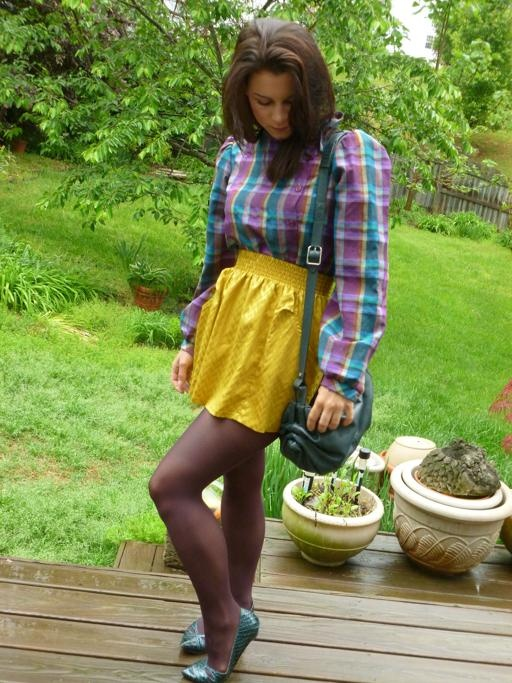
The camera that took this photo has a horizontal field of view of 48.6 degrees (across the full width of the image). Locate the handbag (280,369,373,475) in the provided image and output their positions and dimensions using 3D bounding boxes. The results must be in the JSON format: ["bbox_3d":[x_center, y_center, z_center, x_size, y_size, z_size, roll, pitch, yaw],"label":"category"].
[{"bbox_3d":[0.132,0.132,1.044,0.135,0.206,0.171,10,1,20],"label":"handbag"}]

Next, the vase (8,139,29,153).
[{"bbox_3d":[-4.309,-3.566,10.311,0.327,0.219,0.304,0,26,-6],"label":"vase"}]

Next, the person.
[{"bbox_3d":[0.006,0.070,1.129,0.349,1.259,0.431,9,11,-7],"label":"person"}]

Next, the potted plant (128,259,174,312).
[{"bbox_3d":[-1.113,-0.507,5.741,0.500,0.416,0.433,3,4,-23],"label":"potted plant"}]

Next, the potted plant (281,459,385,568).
[{"bbox_3d":[0.281,0.544,1.891,0.309,0.340,0.314,-3,13,-36],"label":"potted plant"}]
